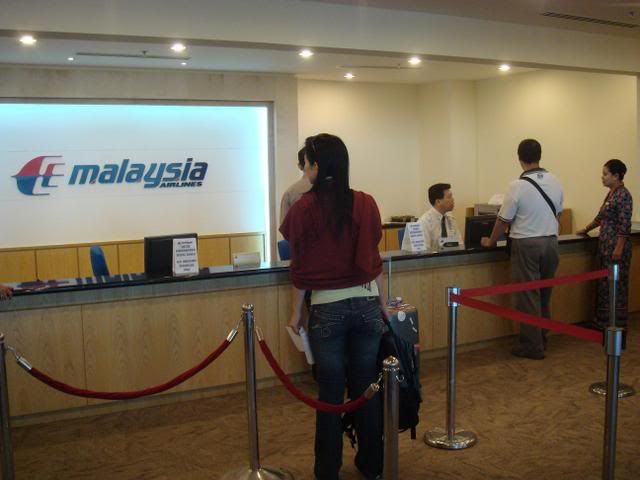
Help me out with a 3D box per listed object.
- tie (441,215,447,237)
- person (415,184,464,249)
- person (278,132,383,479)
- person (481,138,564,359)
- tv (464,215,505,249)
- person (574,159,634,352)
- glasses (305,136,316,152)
[{"bbox_3d":[1.403,-0.155,5.823,0.069,0.219,0.162,-3,4,15],"label":"tie"},{"bbox_3d":[1.343,-0.271,5.764,0.447,0.705,0.711,-3,5,15],"label":"person"},{"bbox_3d":[0.103,0.490,3.253,0.630,2.283,0.280,-4,4,-2],"label":"person"},{"bbox_3d":[2.230,0.082,5.452,0.809,2.286,0.545,-5,4,-17],"label":"person"},{"bbox_3d":[1.818,-0.079,5.696,0.318,0.340,0.033,-6,10,-25],"label":"tv"},{"bbox_3d":[3.301,0.082,5.917,0.479,1.987,0.715,-2,4,29],"label":"person"},{"bbox_3d":[-0.052,-0.590,3.178,0.059,0.089,0.028,0,-6,35],"label":"glasses"}]
